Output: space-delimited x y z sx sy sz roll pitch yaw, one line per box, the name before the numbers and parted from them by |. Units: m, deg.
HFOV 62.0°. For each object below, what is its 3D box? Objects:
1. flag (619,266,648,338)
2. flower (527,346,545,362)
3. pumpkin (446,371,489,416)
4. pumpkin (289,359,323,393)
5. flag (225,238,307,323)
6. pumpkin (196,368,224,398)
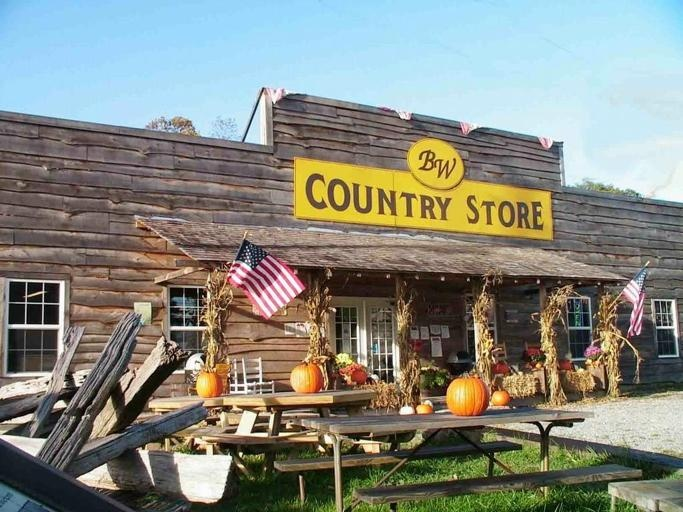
flag | 8.372 1.179 16.128 0.815 2.217 4.747 -7 -10 27
flower | 5.267 2.689 15.520 0.489 0.427 0.496 2 -1 43
pumpkin | 1.265 1.418 5.688 0.389 0.359 0.317 -3 -10 10
pumpkin | -0.510 1.707 8.034 0.499 0.404 0.465 -4 -6 14
flag | -1.373 0.418 10.076 1.228 1.339 0.370 1 -10 -13
pumpkin | -1.831 1.781 7.998 0.458 0.386 0.431 -6 -7 18
